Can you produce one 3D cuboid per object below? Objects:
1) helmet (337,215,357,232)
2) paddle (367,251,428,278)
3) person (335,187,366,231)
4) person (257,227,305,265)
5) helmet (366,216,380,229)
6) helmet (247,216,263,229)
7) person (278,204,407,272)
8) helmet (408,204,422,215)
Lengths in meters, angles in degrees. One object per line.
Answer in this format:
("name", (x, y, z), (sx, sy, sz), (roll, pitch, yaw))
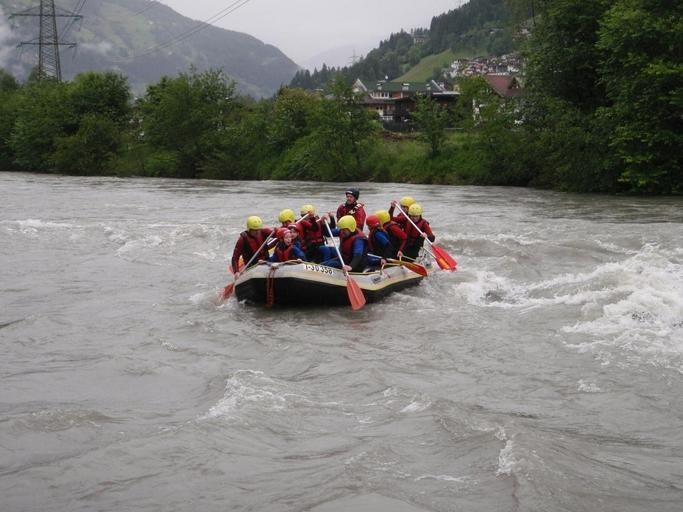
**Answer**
("helmet", (0.132, -0.689, 13.699), (0.392, 0.295, 0.289), (-16, 39, -12))
("paddle", (1.179, 0.142, 14.198), (2.241, 0.223, 0.447), (11, 12, -41))
("person", (0.139, -1.092, 15.694), (0.935, 1.040, 0.843), (2, 9, -16))
("person", (-1.129, -0.119, 13.117), (0.824, 0.925, 0.663), (-3, 11, -14))
("helmet", (0.695, -0.828, 14.504), (0.301, 0.250, 0.250), (-20, 44, -18))
("helmet", (-1.831, -0.737, 13.998), (0.326, 0.327, 0.444), (-6, 4, -32))
("person", (0.185, -0.264, 14.126), (1.227, 0.796, 1.936), (4, -10, 29))
("helmet", (1.760, -1.144, 15.732), (0.301, 0.172, 0.375), (0, 4, 5))
